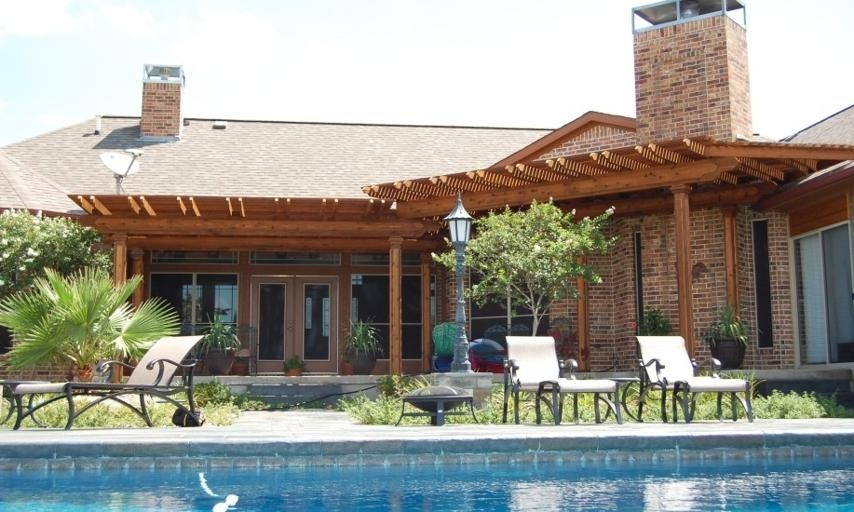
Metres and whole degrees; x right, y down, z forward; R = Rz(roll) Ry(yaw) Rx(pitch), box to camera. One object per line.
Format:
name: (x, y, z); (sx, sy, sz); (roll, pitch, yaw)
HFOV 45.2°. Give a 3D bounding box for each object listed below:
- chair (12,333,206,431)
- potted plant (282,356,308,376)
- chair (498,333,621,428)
chair: (-6.004, 2.469, 19.944); (3.410, 1.676, 1.848); (11, -17, -43)
potted plant: (-3.613, 3.003, 28.083); (0.568, 0.436, 0.543); (-2, -4, 18)
chair: (2.576, 2.507, 20.327); (2.161, 1.609, 1.910); (1, 14, -2)
